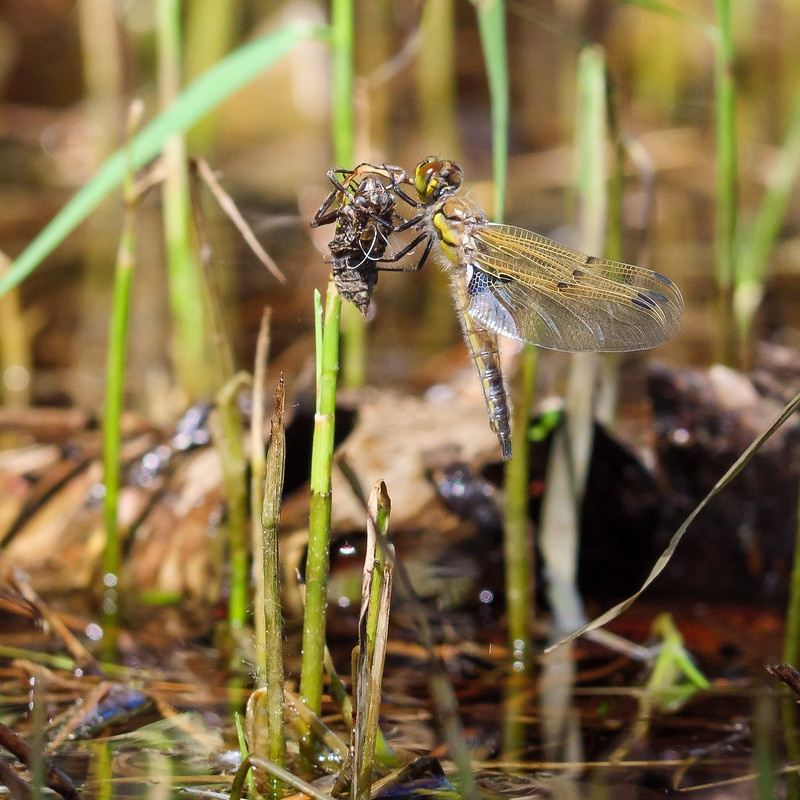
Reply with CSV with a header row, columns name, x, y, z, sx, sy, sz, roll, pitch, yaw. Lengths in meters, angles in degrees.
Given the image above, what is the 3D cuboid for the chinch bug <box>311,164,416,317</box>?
name,x,y,z,sx,sy,sz,roll,pitch,yaw
chinch bug,-0.061,-0.241,1.488,0.154,0.231,0.298,1,10,-1

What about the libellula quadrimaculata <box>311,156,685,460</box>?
name,x,y,z,sx,sy,sz,roll,pitch,yaw
libellula quadrimaculata,0.169,-0.207,1.752,0.680,0.598,0.213,0,42,39
